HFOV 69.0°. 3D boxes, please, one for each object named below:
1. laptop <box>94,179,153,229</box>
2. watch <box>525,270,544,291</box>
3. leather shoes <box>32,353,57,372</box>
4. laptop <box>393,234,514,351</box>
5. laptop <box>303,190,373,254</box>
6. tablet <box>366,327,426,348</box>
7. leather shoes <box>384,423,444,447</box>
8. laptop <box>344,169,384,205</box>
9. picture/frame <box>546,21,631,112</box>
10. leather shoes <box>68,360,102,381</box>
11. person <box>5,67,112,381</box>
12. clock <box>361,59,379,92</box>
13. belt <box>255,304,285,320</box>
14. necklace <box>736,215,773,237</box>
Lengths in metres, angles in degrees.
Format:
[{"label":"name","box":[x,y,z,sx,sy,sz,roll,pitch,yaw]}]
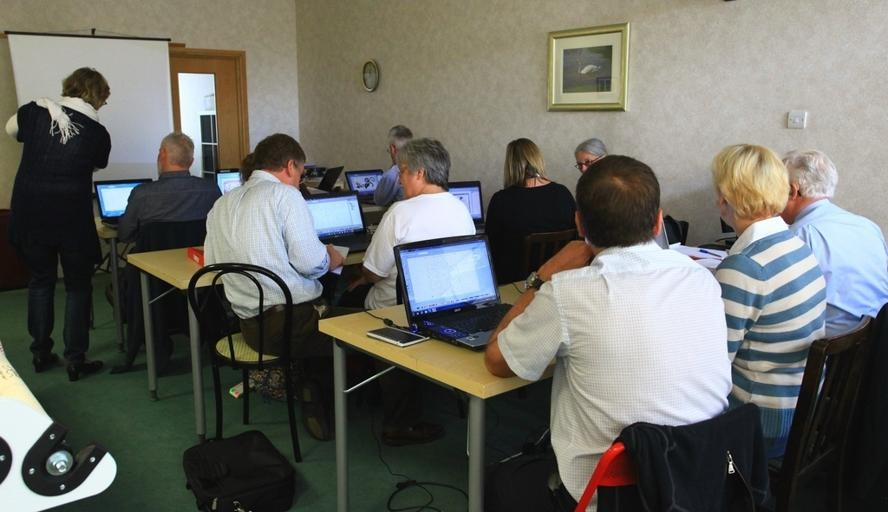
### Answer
[{"label":"laptop","box":[-2.823,-0.461,5.930,0.564,0.359,0.451,-2,-10,8]},{"label":"watch","box":[0.443,0.123,3.134,0.088,0.060,0.093,38,4,-3]},{"label":"leather shoes","box":[-3.037,0.819,4.935,0.102,0.096,0.194,4,14,2]},{"label":"laptop","box":[-0.010,0.170,3.573,0.706,0.563,0.419,-3,5,-38]},{"label":"laptop","box":[-0.742,-0.237,5.054,0.495,0.302,0.559,33,31,31]},{"label":"tablet","box":[-0.237,0.415,3.317,0.282,0.054,0.150,6,14,26]},{"label":"leather shoes","box":[-0.188,1.121,4.150,0.327,0.108,0.154,-5,15,-15]},{"label":"laptop","box":[-0.952,-0.764,7.338,0.473,0.297,0.385,-13,-2,-35]},{"label":"picture/frame","box":[1.334,-1.703,5.777,0.935,0.823,0.067,3,12,22]},{"label":"leather shoes","box":[-2.682,0.841,4.882,0.096,0.108,0.276,10,17,31]},{"label":"person","box":[-2.881,-0.139,4.859,0.594,2.050,0.564,3,14,14]},{"label":"clock","box":[-0.852,-2.141,7.653,0.379,0.422,0.078,13,14,43]},{"label":"belt","box":[-1.043,0.346,3.926,0.139,0.118,0.033,10,7,1]},{"label":"necklace","box":[1.507,-0.135,3.156,0.123,0.086,0.114,-3,1,11]}]
